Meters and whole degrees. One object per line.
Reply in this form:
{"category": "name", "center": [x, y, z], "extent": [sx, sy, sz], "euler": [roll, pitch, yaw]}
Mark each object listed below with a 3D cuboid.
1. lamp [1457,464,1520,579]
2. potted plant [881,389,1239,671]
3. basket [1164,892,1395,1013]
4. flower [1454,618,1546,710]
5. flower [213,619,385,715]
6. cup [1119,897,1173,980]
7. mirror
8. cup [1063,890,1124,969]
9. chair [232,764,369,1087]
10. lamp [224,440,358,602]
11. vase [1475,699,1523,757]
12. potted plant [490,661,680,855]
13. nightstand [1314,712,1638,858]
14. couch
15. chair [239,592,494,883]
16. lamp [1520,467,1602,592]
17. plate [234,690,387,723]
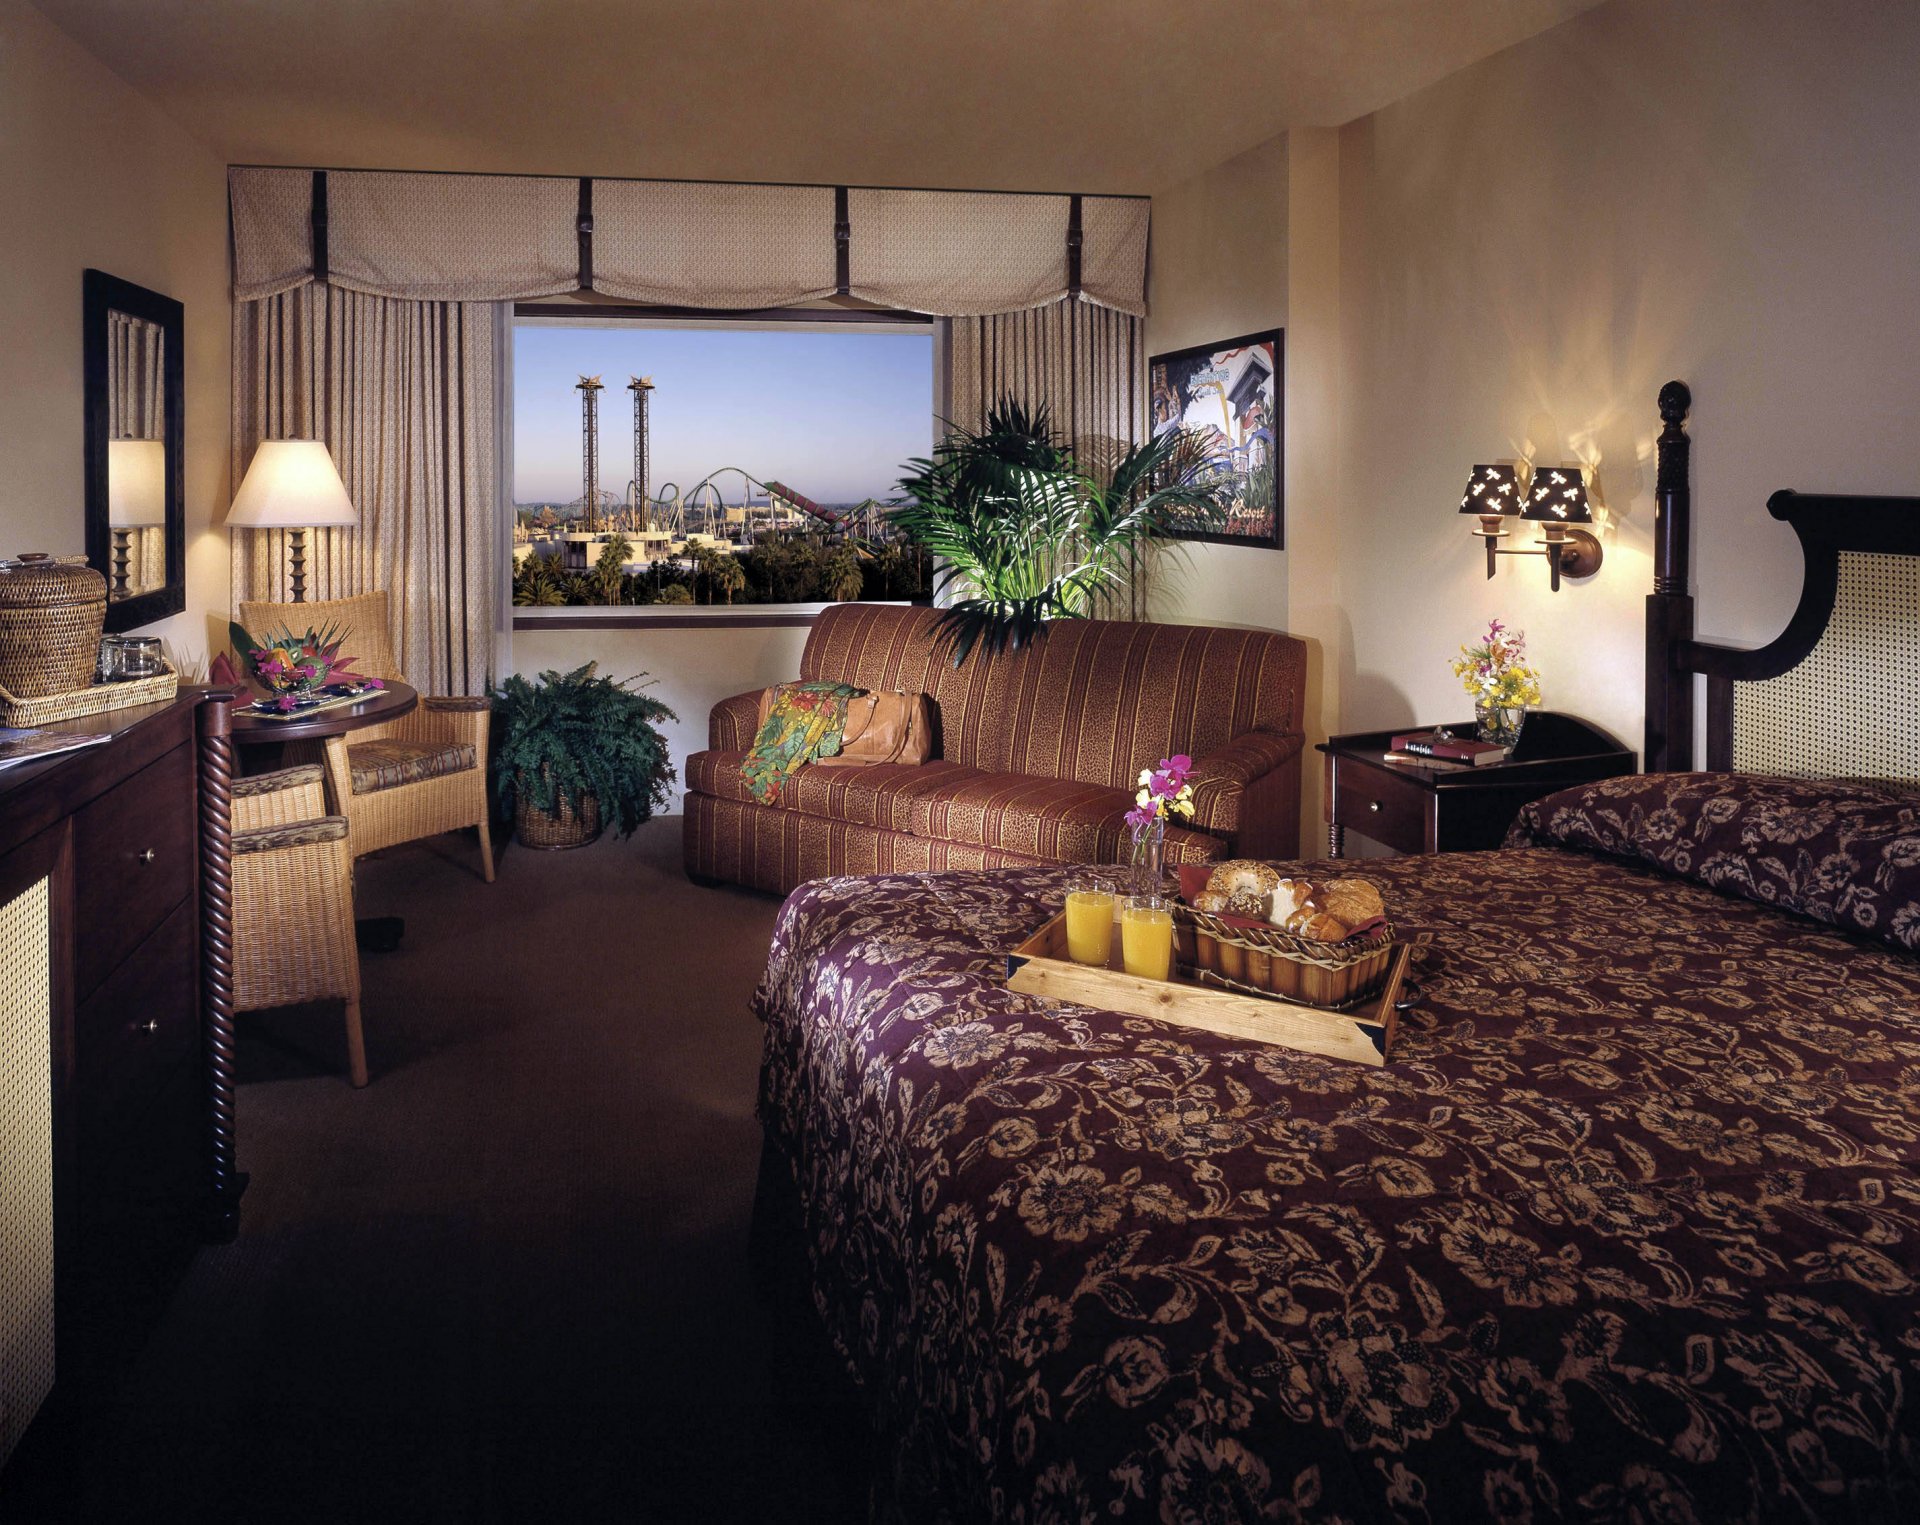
{"category": "lamp", "center": [1.664, -0.742, 4.015], "extent": [0.190, 0.356, 0.184], "euler": [5, -4, -40]}
{"category": "potted plant", "center": [0.491, -1.149, 6.246], "extent": [1.487, 1.099, 1.503], "euler": [13, -1, 8]}
{"category": "basket", "center": [0.512, 0.288, 2.020], "extent": [0.159, 0.093, 0.205], "euler": [-5, 7, -41]}
{"category": "flower", "center": [1.708, -0.286, 4.064], "extent": [0.258, 0.334, 0.286], "euler": [-3, -4, 24]}
{"category": "flower", "center": [-2.279, -0.325, 4.393], "extent": [0.380, 0.210, 0.384], "euler": [6, 0, -27]}
{"category": "cup", "center": [0.305, 0.294, 2.070], "extent": [0.100, 0.170, 0.105], "euler": [0, -2, 0]}
{"category": "mirror", "center": [-2.909, -1.091, 4.586], "extent": [0.169, 1.213, 1.059], "euler": [-6, 12, -18]}
{"category": "cup", "center": [0.224, 0.283, 2.133], "extent": [0.107, 0.178, 0.109], "euler": [0, -3, 0]}
{"category": "chair", "center": [-1.748, 0.466, 3.375], "extent": [0.324, 0.875, 0.341], "euler": [-10, 13, -35]}
{"category": "lamp", "center": [-2.856, -0.980, 5.549], "extent": [0.483, 0.859, 0.470], "euler": [-11, 27, -43]}
{"category": "vase", "center": [1.654, -0.103, 3.944], "extent": [0.144, 0.167, 0.149], "euler": [0, 0, -5]}
{"category": "potted plant", "center": [-1.761, -0.031, 6.070], "extent": [0.762, 0.724, 0.804], "euler": [0, 6, -2]}
{"category": "nightstand", "center": [1.548, 0.070, 3.958], "extent": [0.471, 0.663, 0.636], "euler": [-2, 6, -17]}
{"category": "couch", "center": [0.036, 0.086, 5.197], "extent": [2.364, 1.218, 1.104], "euler": [8, 11, 34]}
{"category": "chair", "center": [-2.440, -0.099, 5.267], "extent": [0.746, 1.127, 0.693], "euler": [7, 12, 35]}
{"category": "lamp", "center": [1.789, -0.710, 3.844], "extent": [0.184, 0.375, 0.180], "euler": [7, 14, 45]}
{"category": "plate", "center": [-1.975, -0.172, 3.937], "extent": [0.440, 0.048, 0.363], "euler": [-12, 16, -38]}
